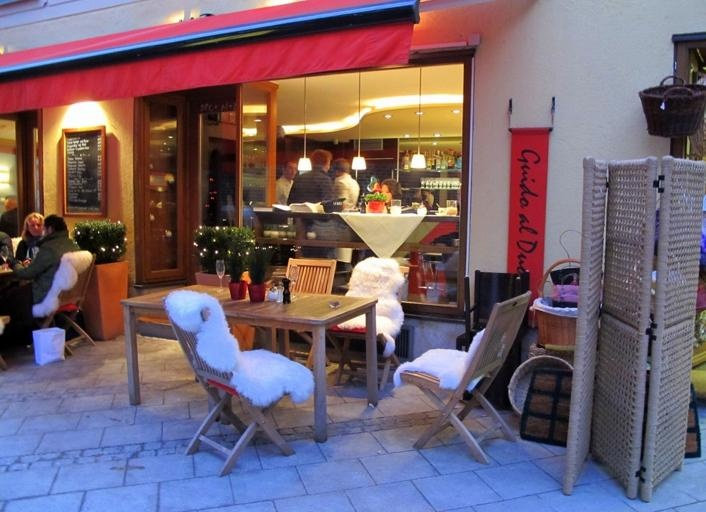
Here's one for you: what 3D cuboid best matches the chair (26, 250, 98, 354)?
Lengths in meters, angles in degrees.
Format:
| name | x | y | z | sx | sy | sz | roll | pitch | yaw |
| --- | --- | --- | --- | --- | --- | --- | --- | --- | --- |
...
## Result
| name | x | y | z | sx | sy | sz | roll | pitch | yaw |
| --- | --- | --- | --- | --- | --- | --- | --- | --- | --- |
| chair | -3.976 | 0.646 | 7.398 | 0.904 | 1.174 | 0.834 | -1 | -2 | -36 |

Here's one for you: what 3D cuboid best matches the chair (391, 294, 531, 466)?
| name | x | y | z | sx | sy | sz | roll | pitch | yaw |
| --- | --- | --- | --- | --- | --- | --- | --- | --- | --- |
| chair | 0.961 | 1.027 | 4.889 | 1.118 | 1.363 | 0.995 | 0 | 5 | 18 |

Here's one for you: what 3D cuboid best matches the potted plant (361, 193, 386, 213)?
| name | x | y | z | sx | sy | sz | roll | pitch | yaw |
| --- | --- | --- | --- | --- | --- | --- | --- | --- | --- |
| potted plant | 0.250 | -0.670 | 7.132 | 0.282 | 0.280 | 0.252 | 0 | -1 | 3 |

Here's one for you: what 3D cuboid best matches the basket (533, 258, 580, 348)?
| name | x | y | z | sx | sy | sz | roll | pitch | yaw |
| --- | --- | --- | --- | --- | --- | --- | --- | --- | --- |
| basket | 2.047 | 0.440 | 5.619 | 0.451 | 0.865 | 1.122 | 4 | 11 | 20 |

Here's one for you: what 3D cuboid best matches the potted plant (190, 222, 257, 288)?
| name | x | y | z | sx | sy | sz | roll | pitch | yaw |
| --- | --- | --- | --- | --- | --- | --- | --- | --- | --- |
| potted plant | -1.649 | -0.097 | 7.088 | 0.962 | 0.987 | 0.683 | 0 | 1 | 0 |

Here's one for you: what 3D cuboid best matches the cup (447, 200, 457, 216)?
| name | x | y | z | sx | sy | sz | roll | pitch | yaw |
| --- | --- | --- | --- | --- | --- | --- | --- | --- | --- |
| cup | 1.204 | -0.597 | 6.791 | 0.109 | 0.176 | 0.178 | 0 | -1 | 29 |

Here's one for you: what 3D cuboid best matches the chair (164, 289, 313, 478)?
| name | x | y | z | sx | sy | sz | roll | pitch | yaw |
| --- | --- | --- | --- | --- | --- | --- | --- | --- | --- |
| chair | -0.996 | 0.861 | 4.978 | 1.201 | 1.676 | 1.502 | 5 | 9 | 43 |

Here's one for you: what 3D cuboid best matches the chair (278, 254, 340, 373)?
| name | x | y | z | sx | sy | sz | roll | pitch | yaw |
| --- | --- | --- | --- | --- | --- | --- | --- | --- | --- |
| chair | -0.600 | 0.614 | 6.567 | 0.667 | 1.077 | 0.888 | 1 | 14 | 9 |

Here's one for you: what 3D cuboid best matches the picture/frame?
| name | x | y | z | sx | sy | sz | roll | pitch | yaw |
| --- | --- | --- | --- | --- | --- | --- | --- | --- | --- |
| picture/frame | -4.566 | -1.436 | 9.293 | 1.004 | 1.503 | 0.216 | 5 | 12 | 26 |

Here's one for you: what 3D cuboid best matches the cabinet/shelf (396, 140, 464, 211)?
| name | x | y | z | sx | sy | sz | roll | pitch | yaw |
| --- | --- | --- | --- | --- | --- | --- | --- | --- | --- |
| cabinet/shelf | 0.979 | -0.994 | 6.846 | 0.922 | 0.879 | 0.300 | 1 | 1 | 27 |

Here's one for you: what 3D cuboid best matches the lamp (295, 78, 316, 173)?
| name | x | y | z | sx | sy | sz | roll | pitch | yaw |
| --- | --- | --- | --- | --- | --- | --- | --- | --- | --- |
| lamp | -0.677 | -1.793 | 7.569 | 0.189 | 1.242 | 0.204 | 11 | 28 | 14 |

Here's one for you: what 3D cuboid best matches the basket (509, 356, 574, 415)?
| name | x | y | z | sx | sy | sz | roll | pitch | yaw |
| --- | --- | --- | --- | --- | --- | --- | --- | --- | --- |
| basket | 1.819 | 1.294 | 5.282 | 0.248 | 0.588 | 0.560 | 26 | -21 | -29 |

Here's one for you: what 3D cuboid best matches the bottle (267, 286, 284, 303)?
| name | x | y | z | sx | sy | sz | roll | pitch | yaw |
| --- | --- | --- | --- | --- | --- | --- | --- | --- | --- |
| bottle | -0.792 | 0.387 | 5.552 | 0.114 | 0.196 | 0.184 | 4 | -3 | -19 |
